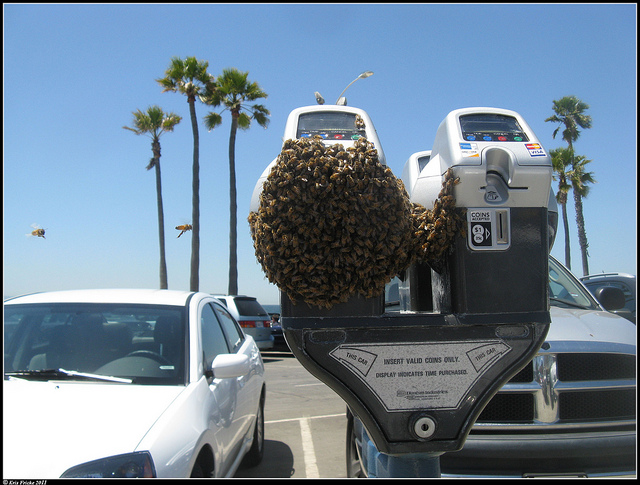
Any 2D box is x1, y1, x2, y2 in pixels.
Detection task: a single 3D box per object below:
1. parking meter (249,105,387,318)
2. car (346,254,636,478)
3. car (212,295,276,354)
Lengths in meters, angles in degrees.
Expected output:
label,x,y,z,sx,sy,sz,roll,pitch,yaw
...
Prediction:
label,x,y,z,sx,sy,sz,roll,pitch,yaw
parking meter,-0.015,-0.198,2.857,0.670,1.177,0.450,-2,-4,-8
car,1.546,1.232,5.197,1.406,1.290,2.516,-1,-18,-7
car,-1.903,2.202,14.352,1.504,1.507,2.928,1,-4,-22
